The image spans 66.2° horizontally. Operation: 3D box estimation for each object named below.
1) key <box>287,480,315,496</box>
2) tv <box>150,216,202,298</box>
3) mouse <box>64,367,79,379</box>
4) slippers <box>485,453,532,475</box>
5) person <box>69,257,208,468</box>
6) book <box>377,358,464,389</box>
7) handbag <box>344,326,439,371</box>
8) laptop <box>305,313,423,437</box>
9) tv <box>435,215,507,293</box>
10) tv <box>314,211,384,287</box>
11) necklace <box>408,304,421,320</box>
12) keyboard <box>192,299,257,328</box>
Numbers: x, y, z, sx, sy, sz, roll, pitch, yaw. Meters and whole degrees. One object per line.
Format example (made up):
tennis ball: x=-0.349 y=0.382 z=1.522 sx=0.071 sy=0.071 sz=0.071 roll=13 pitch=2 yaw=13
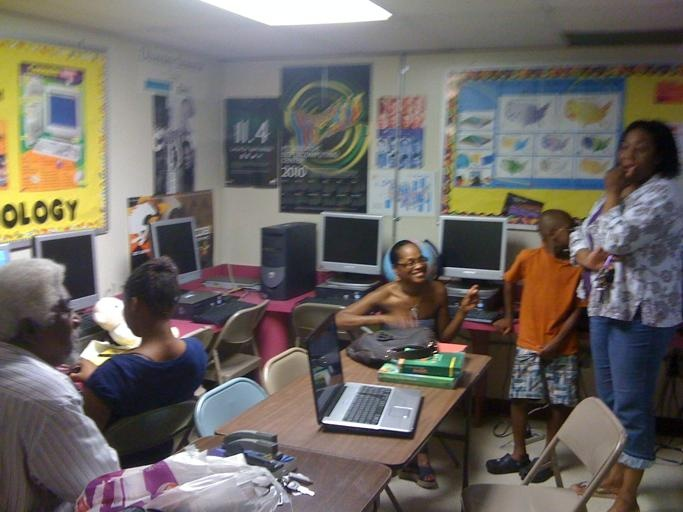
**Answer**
key: x=-0.126 y=0.705 z=1.591 sx=0.062 sy=0.014 sz=0.033 roll=14 pitch=24 yaw=23
tv: x=-1.269 y=0.000 z=4.052 sx=0.146 sy=0.591 sz=0.568 roll=9 pitch=12 yaw=27
mouse: x=-1.242 y=0.543 z=2.418 sx=0.047 sy=0.053 sz=0.144 roll=19 pitch=-15 yaw=-8
slippers: x=1.011 y=1.287 z=3.216 sx=0.298 sy=0.109 sz=0.110 roll=0 pitch=-1 yaw=6
person: x=-0.766 y=0.454 z=2.146 sx=0.470 sy=0.822 sz=0.459 roll=14 pitch=11 yaw=9
book: x=0.384 y=0.515 z=2.461 sx=0.340 sy=0.066 sz=0.318 roll=6 pitch=9 yaw=31
handbag: x=0.240 y=0.422 z=2.737 sx=0.456 sy=0.167 sz=0.456 roll=7 pitch=8 yaw=26
laptop: x=0.114 y=0.445 z=2.107 sx=0.400 sy=0.364 sz=0.467 roll=0 pitch=12 yaw=12
tv: x=0.964 y=-0.011 z=3.890 sx=0.663 sy=0.567 sz=0.238 roll=1 pitch=1 yaw=18
tv: x=0.079 y=-0.050 z=4.251 sx=0.738 sy=0.706 sz=0.422 roll=1 pitch=-1 yaw=16
necklace: x=0.418 y=0.338 z=3.094 sx=0.069 sy=0.103 sz=0.065 roll=3 pitch=5 yaw=23
keyboard: x=-0.833 y=0.393 z=3.652 sx=0.175 sy=0.035 sz=0.273 roll=7 pitch=16 yaw=18
